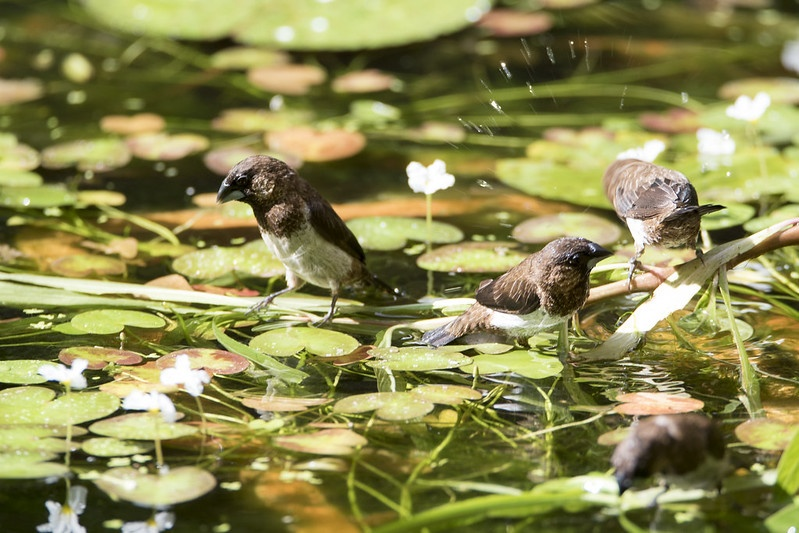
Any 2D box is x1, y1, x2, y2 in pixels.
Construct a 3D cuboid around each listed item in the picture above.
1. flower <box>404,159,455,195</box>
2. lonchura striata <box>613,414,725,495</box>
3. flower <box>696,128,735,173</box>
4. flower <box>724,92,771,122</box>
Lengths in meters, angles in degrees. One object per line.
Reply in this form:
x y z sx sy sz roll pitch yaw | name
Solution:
0.095 -0.304 2.387 0.132 0.129 0.158 -5 22 -7 | flower
0.579 0.399 1.499 0.236 0.166 0.097 -2 26 -2 | lonchura striata
1.289 -0.475 2.835 0.260 0.175 0.064 -3 29 4 | flower
1.269 -0.582 2.552 0.122 0.106 0.120 4 23 13 | flower
